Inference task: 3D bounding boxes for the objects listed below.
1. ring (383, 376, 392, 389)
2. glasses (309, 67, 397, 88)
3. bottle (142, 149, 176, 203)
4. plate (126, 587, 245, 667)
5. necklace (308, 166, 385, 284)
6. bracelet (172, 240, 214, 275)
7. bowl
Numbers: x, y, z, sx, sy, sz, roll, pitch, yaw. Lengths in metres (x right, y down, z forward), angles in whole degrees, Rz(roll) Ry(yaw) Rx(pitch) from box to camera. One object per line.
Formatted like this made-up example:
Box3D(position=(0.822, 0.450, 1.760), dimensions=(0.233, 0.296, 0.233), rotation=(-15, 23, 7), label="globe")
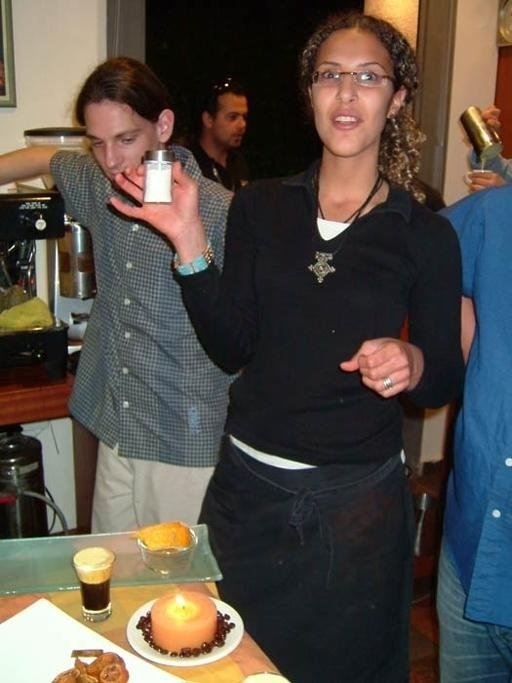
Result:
Box3D(position=(0.187, 0.060, 0.827), dimensions=(0.012, 0.016, 0.006), rotation=(-10, 19, -20), label="ring")
Box3D(position=(0.163, -0.446, 0.982), dimensions=(0.133, 0.033, 0.045), rotation=(0, 16, 7), label="glasses")
Box3D(position=(-0.164, -0.276, 0.971), dimensions=(0.053, 0.086, 0.080), rotation=(-4, 16, -6), label="bottle")
Box3D(position=(-0.088, 0.365, 0.740), dimensions=(0.086, 0.034, 0.083), rotation=(2, 11, -14), label="plate")
Box3D(position=(0.140, -0.204, 1.007), dimensions=(0.077, 0.012, 0.242), rotation=(7, 55, 23), label="necklace")
Box3D(position=(-0.096, -0.138, 0.978), dimensions=(0.055, 0.061, 0.027), rotation=(-10, 46, -23), label="bracelet")
Box3D(position=(-0.126, 0.309, 0.880), dimensions=(0.065, 0.029, 0.063), rotation=(-1, 12, 0), label="bowl")
